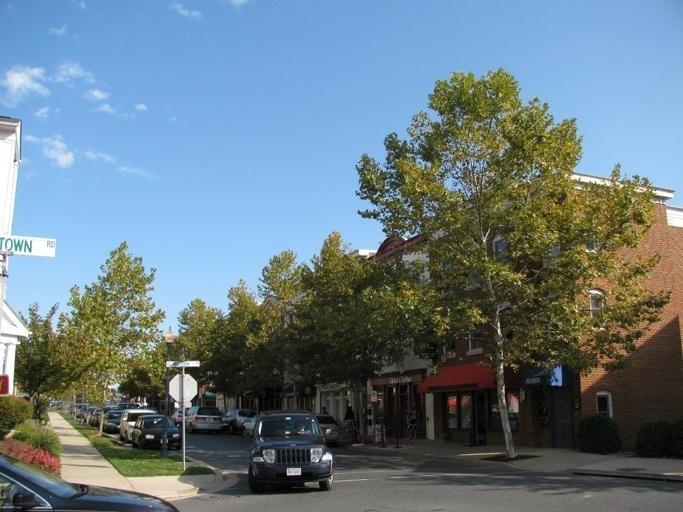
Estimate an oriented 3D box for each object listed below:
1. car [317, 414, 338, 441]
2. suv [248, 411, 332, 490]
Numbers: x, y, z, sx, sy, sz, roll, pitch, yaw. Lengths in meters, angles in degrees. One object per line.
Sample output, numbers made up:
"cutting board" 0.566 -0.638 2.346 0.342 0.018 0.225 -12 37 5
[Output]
"car" -0.697 9.143 38.068 1.059 0.886 2.552 1 0 -2
"suv" -1.638 5.808 21.769 2.302 2.424 2.430 12 -19 -35
